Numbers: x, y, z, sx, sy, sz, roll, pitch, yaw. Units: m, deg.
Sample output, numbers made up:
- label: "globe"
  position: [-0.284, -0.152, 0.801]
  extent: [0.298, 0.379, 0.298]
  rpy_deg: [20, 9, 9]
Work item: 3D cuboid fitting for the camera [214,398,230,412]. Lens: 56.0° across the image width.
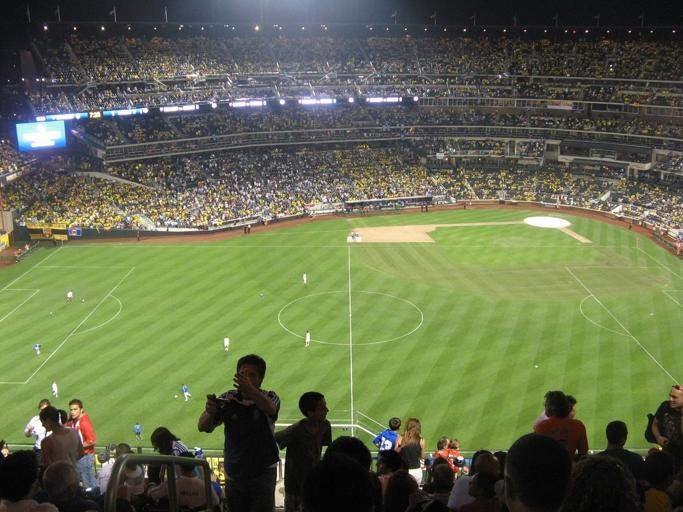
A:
- label: "camera"
  position: [-2.258, 2.805, 12.138]
  extent: [0.272, 0.262, 0.142]
  rpy_deg: [-11, 17, -29]
